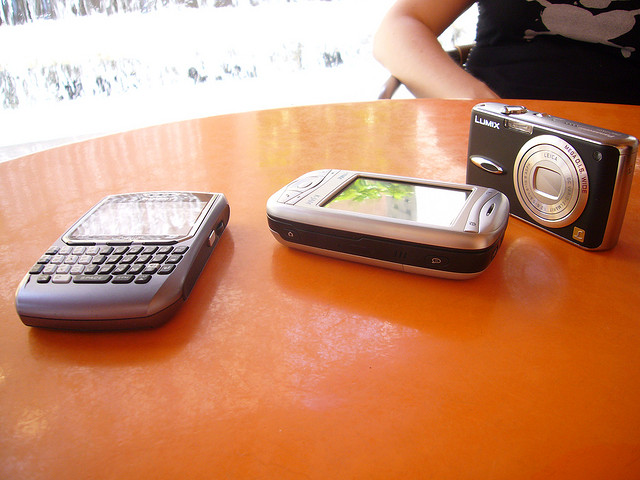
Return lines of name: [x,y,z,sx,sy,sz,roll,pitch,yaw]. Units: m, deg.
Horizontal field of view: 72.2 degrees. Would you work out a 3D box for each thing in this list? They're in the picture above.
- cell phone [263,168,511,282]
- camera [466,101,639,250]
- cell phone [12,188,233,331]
cell phone: [0.055,-0.024,0.367,0.181,0.042,0.097,7,34,24]
camera: [0.196,-0.050,0.375,0.051,0.104,0.166,-18,32,-20]
cell phone: [-0.148,-0.009,0.332,0.105,0.030,0.134,2,26,8]
